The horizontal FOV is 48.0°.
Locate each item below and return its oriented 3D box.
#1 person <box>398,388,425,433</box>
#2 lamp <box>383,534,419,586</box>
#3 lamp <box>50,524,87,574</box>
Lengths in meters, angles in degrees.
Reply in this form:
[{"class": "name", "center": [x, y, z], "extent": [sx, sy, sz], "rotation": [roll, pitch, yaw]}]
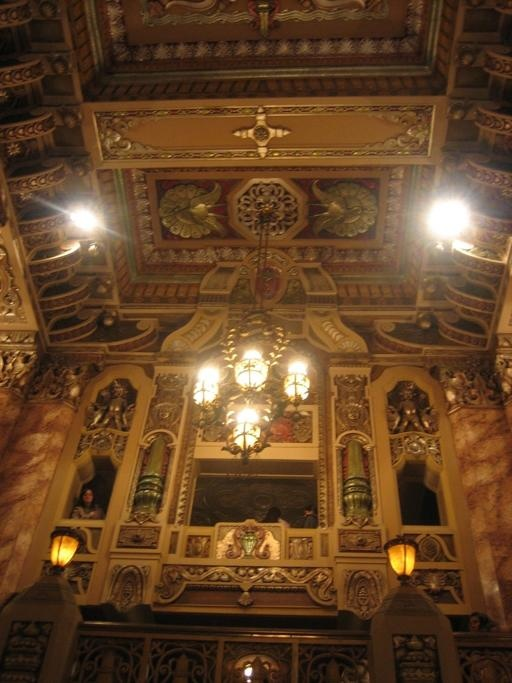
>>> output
[{"class": "person", "center": [1.837, 0.775, 6.815], "extent": [0.289, 0.798, 0.174], "rotation": [-1, -49, 13]}, {"class": "lamp", "center": [0.869, 1.403, 3.658], "extent": [0.263, 0.274, 0.244], "rotation": [18, -28, -29]}, {"class": "lamp", "center": [-1.281, 1.371, 3.809], "extent": [0.270, 0.294, 0.301], "rotation": [9, -29, -5]}]
